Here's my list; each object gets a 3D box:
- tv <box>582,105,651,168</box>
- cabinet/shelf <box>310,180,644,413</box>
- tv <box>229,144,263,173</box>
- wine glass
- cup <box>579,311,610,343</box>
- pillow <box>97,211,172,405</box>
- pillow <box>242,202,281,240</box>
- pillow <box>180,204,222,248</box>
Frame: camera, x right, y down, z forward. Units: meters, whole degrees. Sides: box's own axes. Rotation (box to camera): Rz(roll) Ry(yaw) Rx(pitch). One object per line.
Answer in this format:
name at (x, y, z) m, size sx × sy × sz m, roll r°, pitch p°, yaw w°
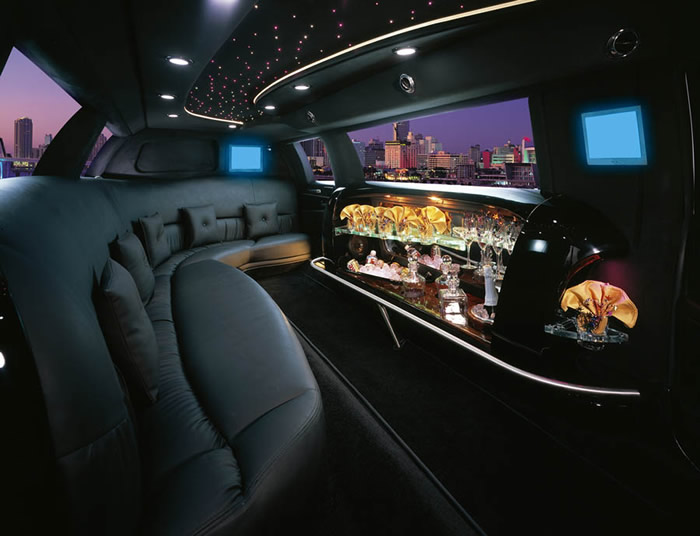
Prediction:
tv at (1.171, -0.573, 1.929) m, size 0.079 × 0.253 × 0.250 m, roll -14°, pitch 15°, yaw -23°
cabinet/shelf at (0.633, -0.019, 2.663) m, size 0.618 × 0.929 × 2.148 m, roll -7°, pitch 12°, yaw -29°
tv at (-1.360, -1.411, 5.694) m, size 0.338 × 0.262 × 0.048 m, roll -6°, pitch 12°, yaw -37°
wine glass at (0.799, -0.116, 2.515) m, size 0.112 × 0.258 × 0.388 m, roll -1°, pitch 5°, yaw -7°
cup at (1.023, 0.251, 1.871) m, size 0.117 × 0.127 × 0.100 m, roll 0°, pitch 0°, yaw 13°
pillow at (-0.970, 0.162, 1.990) m, size 0.124 × 0.313 × 0.878 m, roll -9°, pitch 29°, yaw -13°
pillow at (-1.088, -0.548, 5.321) m, size 0.417 × 0.438 × 0.143 m, roll -1°, pitch -10°, yaw -36°
pillow at (-1.620, -0.451, 4.790) m, size 0.112 × 0.429 × 0.427 m, roll -5°, pitch 4°, yaw 38°
